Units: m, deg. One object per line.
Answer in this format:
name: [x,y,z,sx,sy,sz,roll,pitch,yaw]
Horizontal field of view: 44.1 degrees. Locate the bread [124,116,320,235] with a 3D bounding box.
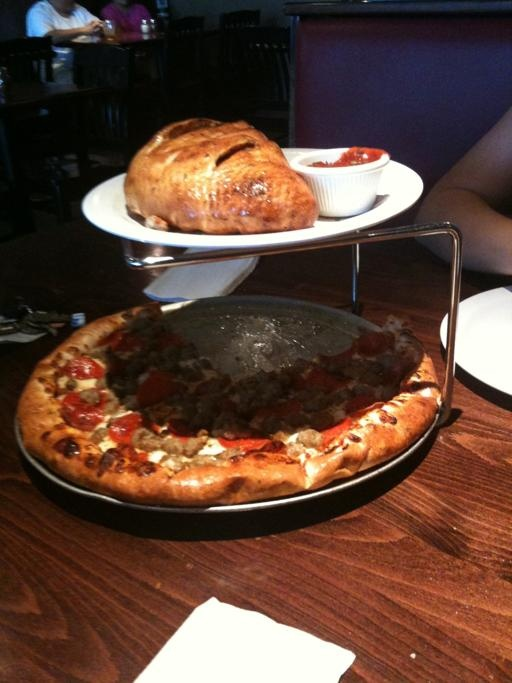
bread: [-0.035,-0.152,0.480,0.116,0.043,0.132,-20,42,-30]

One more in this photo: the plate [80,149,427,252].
plate: [-0.016,-0.110,0.499,0.280,0.034,0.254,4,23,14]

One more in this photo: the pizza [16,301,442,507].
pizza: [-0.024,0.055,0.517,0.222,0.022,0.200,0,23,-1]
